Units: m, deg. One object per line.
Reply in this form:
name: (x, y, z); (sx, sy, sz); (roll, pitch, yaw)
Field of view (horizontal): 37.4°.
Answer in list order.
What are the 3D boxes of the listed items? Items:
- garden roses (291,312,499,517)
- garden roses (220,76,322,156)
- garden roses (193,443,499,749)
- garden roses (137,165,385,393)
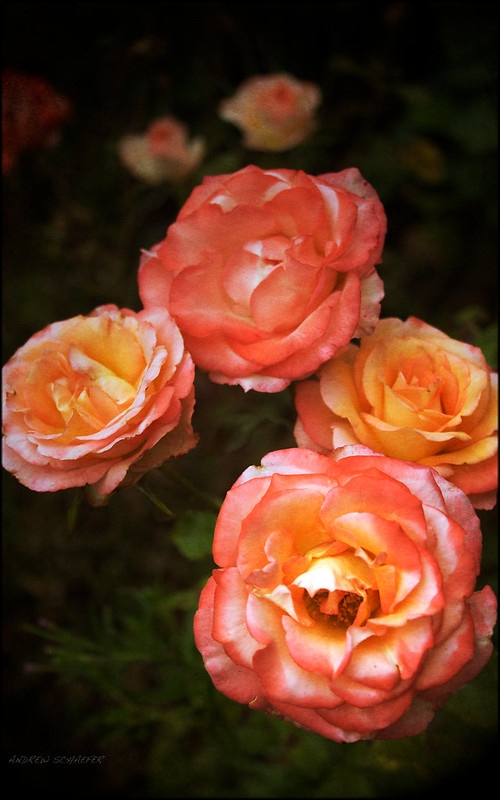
garden roses: (0.149, -0.003, 0.812); (0.237, 0.121, 0.203); (2, 78, 2)
garden roses: (0.049, -0.539, 1.349); (0.168, 0.173, 0.053); (0, 80, 46)
garden roses: (0.103, 0.197, 0.747); (0.269, 0.241, 0.253); (16, 48, 24)
garden roses: (0.022, -0.140, 0.812); (0.286, 0.175, 0.221); (-14, 43, -6)
